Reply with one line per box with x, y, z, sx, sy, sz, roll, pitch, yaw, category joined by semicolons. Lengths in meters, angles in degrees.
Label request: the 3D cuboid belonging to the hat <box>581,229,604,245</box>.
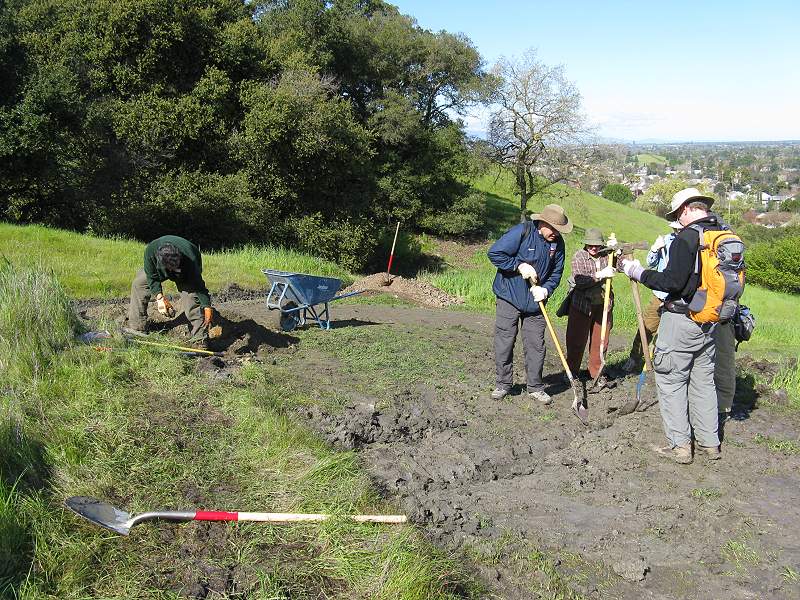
2.640;-0.857;10.287;0.299;0.233;0.268;1;12;1;hat

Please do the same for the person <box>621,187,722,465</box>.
3.163;0.307;8.570;1.013;2.920;0.938;3;-1;-28;person

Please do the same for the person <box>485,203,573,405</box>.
1.609;0.070;9.636;1.021;2.574;0.782;0;11;-3;person

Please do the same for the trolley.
-1.329;0.023;12.247;0.634;0.913;1.810;4;7;43;trolley

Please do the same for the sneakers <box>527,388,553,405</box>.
1.833;1.249;9.845;0.296;0.132;0.157;26;54;21;sneakers

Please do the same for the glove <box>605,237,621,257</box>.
2.694;-0.671;9.561;0.084;0.247;0.177;-28;-28;35;glove

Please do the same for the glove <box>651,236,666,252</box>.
3.149;-0.674;9.142;0.077;0.221;0.161;25;16;-19;glove

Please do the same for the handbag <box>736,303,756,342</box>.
4.036;0.278;8.901;0.252;0.454;0.314;7;-2;19;handbag

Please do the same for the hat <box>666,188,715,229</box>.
3.255;-1.058;8.486;0.480;0.432;0.759;5;13;19;hat

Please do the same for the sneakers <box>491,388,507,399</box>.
1.267;1.228;9.777;0.106;0.094;0.211;6;-4;28;sneakers

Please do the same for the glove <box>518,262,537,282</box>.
1.567;-0.331;9.354;0.229;0.237;0.162;6;13;23;glove

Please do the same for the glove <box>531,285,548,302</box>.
1.725;-0.063;9.317;0.204;0.221;0.195;3;12;9;glove

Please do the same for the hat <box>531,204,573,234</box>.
1.927;-1.024;9.406;0.450;0.193;0.356;36;23;17;hat

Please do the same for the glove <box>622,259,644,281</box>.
2.701;-0.354;8.729;0.184;0.251;0.089;-39;-1;-2;glove

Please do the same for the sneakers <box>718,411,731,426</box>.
3.979;1.462;9.240;0.138;0.197;0.061;20;10;30;sneakers

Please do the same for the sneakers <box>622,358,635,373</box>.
3.394;0.978;11.117;0.127;0.214;0.217;5;-20;11;sneakers

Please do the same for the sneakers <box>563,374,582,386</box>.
2.368;1.108;10.328;0.093;0.163;0.434;8;-14;36;sneakers

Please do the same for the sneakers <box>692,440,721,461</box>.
3.515;1.734;8.640;0.159;0.139;0.303;-24;-2;-9;sneakers
